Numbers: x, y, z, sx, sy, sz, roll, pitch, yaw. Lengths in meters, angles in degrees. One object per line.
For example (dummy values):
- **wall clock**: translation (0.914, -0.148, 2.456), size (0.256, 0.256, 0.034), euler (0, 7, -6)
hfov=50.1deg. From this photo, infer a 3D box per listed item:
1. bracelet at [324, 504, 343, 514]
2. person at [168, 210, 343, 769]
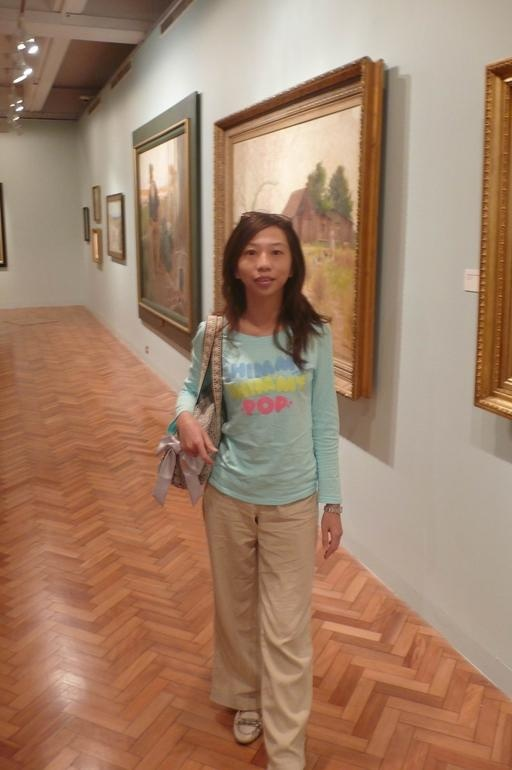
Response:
- **bracelet**: translation (0.253, 0.402, 1.788), size (0.052, 0.038, 0.058), euler (-1, -8, -7)
- **person**: translation (0.009, 0.436, 1.801), size (0.371, 1.908, 0.459), euler (-4, 6, -42)
